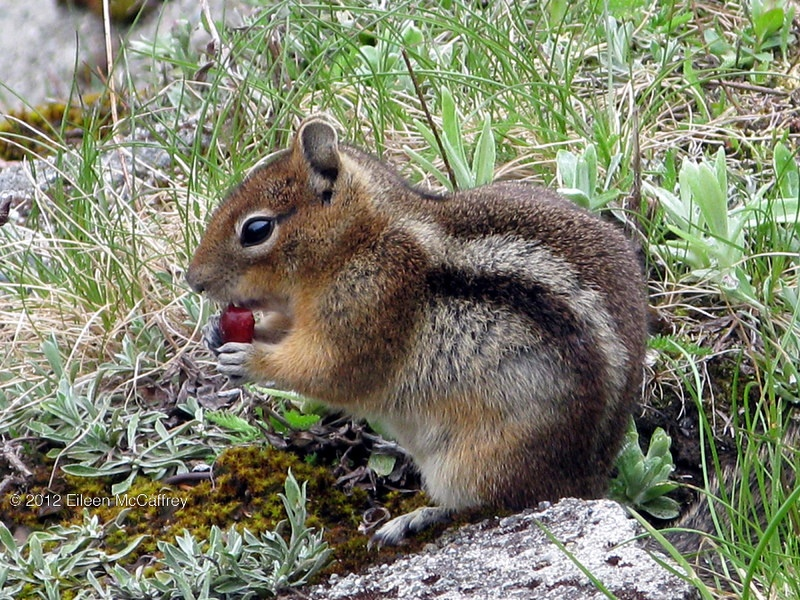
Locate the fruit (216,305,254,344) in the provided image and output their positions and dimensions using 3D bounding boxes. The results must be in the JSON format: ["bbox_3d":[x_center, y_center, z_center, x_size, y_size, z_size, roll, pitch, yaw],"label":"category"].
[{"bbox_3d":[-1.080,0.168,5.898,0.206,0.232,0.298,4,91,41],"label":"fruit"}]
